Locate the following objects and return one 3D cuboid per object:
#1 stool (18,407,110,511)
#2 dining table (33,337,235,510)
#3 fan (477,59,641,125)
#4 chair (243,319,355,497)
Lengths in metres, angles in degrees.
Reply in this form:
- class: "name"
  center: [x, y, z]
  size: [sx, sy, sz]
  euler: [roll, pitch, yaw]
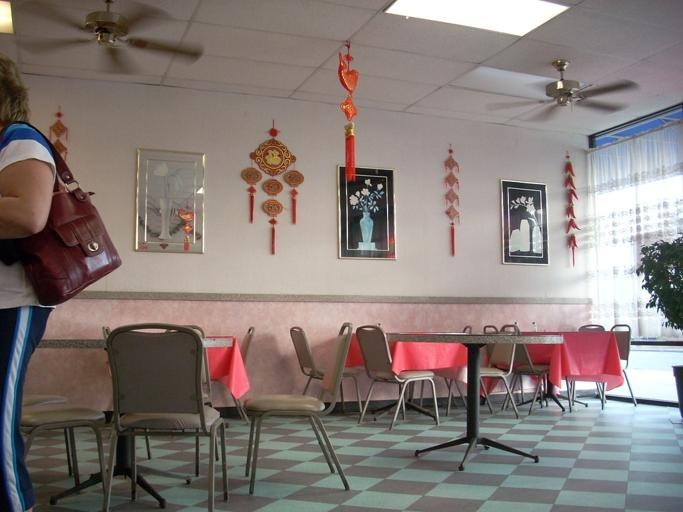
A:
- class: "stool"
  center: [-1.787, 1.168, 3.444]
  size: [0.481, 0.500, 0.566]
  euler: [4, -9, -41]
- class: "dining table"
  center: [-1.607, 1.099, 3.928]
  size: [1.125, 1.059, 1.115]
  euler: [0, -7, -2]
- class: "fan"
  center: [2.443, -1.786, 6.112]
  size: [0.937, 0.458, 1.575]
  euler: [0, 0, -18]
- class: "chair"
  center: [-0.308, 1.011, 3.857]
  size: [0.737, 1.082, 0.643]
  euler: [0, -11, -3]
